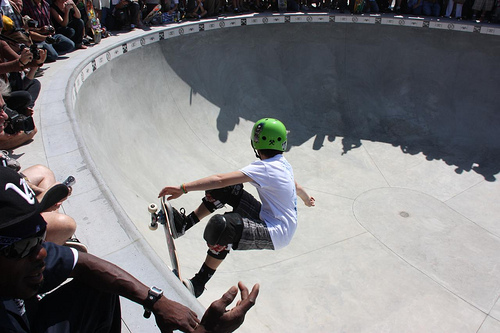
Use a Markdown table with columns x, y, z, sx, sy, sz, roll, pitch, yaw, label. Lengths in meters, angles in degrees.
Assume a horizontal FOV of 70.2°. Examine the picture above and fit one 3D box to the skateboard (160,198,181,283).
| x | y | z | sx | sy | sz | roll | pitch | yaw | label |
| --- | --- | --- | --- | --- | --- | --- | --- | --- | --- |
| -1.175 | 1.060 | 5.154 | 0.289 | 1.164 | 0.170 | -22 | -11 | 42 | skateboard |
